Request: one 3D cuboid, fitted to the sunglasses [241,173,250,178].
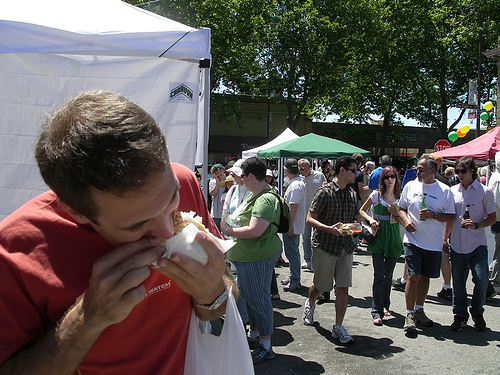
[{"bbox_3d":[-0.058,-0.156,5.492,0.113,0.035,0.114,1,2,0],"label":"sunglasses"}]

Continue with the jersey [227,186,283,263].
[{"bbox_3d":[0.060,0.458,5.184,0.646,0.853,0.361,0,4,2],"label":"jersey"}]

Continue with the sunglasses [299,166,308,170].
[{"bbox_3d":[1.228,-0.452,9.944,0.111,0.036,0.120,-3,-19,22],"label":"sunglasses"}]

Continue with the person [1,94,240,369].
[{"bbox_3d":[-0.556,0.255,1.854,0.924,1.241,0.567,-1,4,-9],"label":"person"}]

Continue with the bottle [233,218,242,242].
[{"bbox_3d":[-0.143,0.502,5.147,0.067,0.226,0.167,5,-3,-30],"label":"bottle"}]

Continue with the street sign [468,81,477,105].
[{"bbox_3d":[10.787,-4.564,20.945,0.333,1.136,0.694,2,4,26],"label":"street sign"}]

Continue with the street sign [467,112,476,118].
[{"bbox_3d":[10.611,-3.445,20.656,0.726,0.283,0.203,-3,5,-40],"label":"street sign"}]

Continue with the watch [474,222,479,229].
[{"bbox_3d":[3.163,0.518,6.041,0.022,0.065,0.063,-2,6,-14],"label":"watch"}]

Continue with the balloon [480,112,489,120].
[{"bbox_3d":[8.973,-2.721,16.586,0.256,0.336,1.072,2,4,28],"label":"balloon"}]

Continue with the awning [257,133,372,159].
[{"bbox_3d":[2.124,-1.443,15.596,3.327,1.018,2.718,1,7,-28],"label":"awning"}]
